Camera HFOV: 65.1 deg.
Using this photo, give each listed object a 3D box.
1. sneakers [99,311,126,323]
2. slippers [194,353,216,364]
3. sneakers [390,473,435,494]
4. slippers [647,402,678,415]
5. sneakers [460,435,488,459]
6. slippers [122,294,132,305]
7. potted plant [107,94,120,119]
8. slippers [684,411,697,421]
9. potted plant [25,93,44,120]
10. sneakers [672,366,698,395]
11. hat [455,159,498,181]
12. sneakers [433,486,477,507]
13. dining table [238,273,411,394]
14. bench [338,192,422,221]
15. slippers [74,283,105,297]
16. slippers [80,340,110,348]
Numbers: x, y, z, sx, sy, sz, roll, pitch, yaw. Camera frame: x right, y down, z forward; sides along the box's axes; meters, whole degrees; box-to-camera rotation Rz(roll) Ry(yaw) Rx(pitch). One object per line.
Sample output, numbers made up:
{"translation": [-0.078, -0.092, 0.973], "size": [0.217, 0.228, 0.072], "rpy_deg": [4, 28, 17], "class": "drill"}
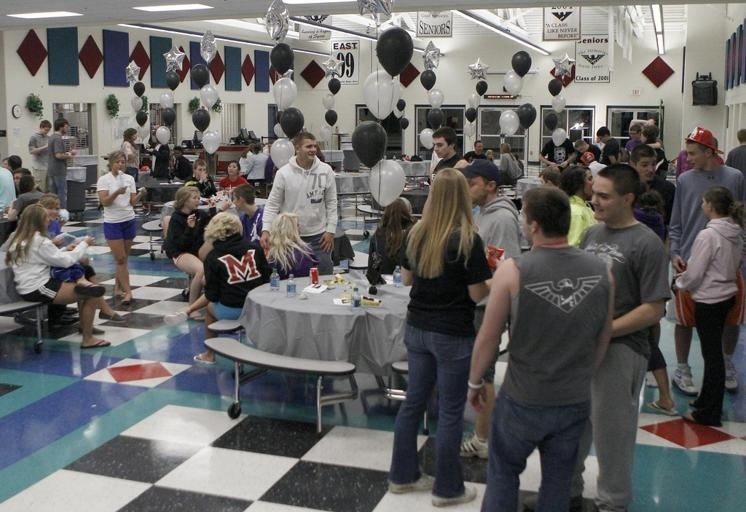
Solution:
{"translation": [-3.096, 0.714, 6.923], "size": [0.329, 0.121, 0.125], "rpy_deg": [4, 7, -2], "class": "sneakers"}
{"translation": [-1.648, 1.008, 5.835], "size": [0.216, 0.097, 0.102], "rpy_deg": [10, 7, 11], "class": "slippers"}
{"translation": [0.272, 1.497, 3.886], "size": [0.301, 0.121, 0.112], "rpy_deg": [-4, 5, -18], "class": "sneakers"}
{"translation": [2.423, 1.267, 4.885], "size": [0.078, 0.066, 0.213], "rpy_deg": [-4, 4, -36], "class": "slippers"}
{"translation": [0.749, 1.372, 4.261], "size": [0.238, 0.120, 0.105], "rpy_deg": [6, 7, 33], "class": "sneakers"}
{"translation": [-3.144, 0.553, 7.504], "size": [0.065, 0.074, 0.183], "rpy_deg": [-1, 9, -19], "class": "slippers"}
{"translation": [-8.466, -4.911, 19.167], "size": [0.449, 0.738, 0.277], "rpy_deg": [-11, 17, -38], "class": "potted plant"}
{"translation": [2.564, 1.287, 4.743], "size": [0.047, 0.038, 0.086], "rpy_deg": [-11, 16, -2], "class": "slippers"}
{"translation": [-9.644, -4.324, 16.842], "size": [0.277, 0.671, 0.589], "rpy_deg": [0, 14, 2], "class": "potted plant"}
{"translation": [2.715, 1.100, 5.221], "size": [0.121, 0.234, 0.339], "rpy_deg": [-1, 3, -5], "class": "sneakers"}
{"translation": [0.762, -0.600, 4.182], "size": [0.220, 0.109, 0.158], "rpy_deg": [6, 7, -4], "class": "hat"}
{"translation": [0.523, 1.507, 3.750], "size": [0.268, 0.117, 0.114], "rpy_deg": [-10, 13, -24], "class": "sneakers"}
{"translation": [-0.399, 0.578, 4.693], "size": [0.898, 0.348, 0.877], "rpy_deg": [9, 13, 34], "class": "dining table"}
{"translation": [-0.156, -1.248, 14.187], "size": [1.392, 0.337, 1.433], "rpy_deg": [2, 20, 4], "class": "bench"}
{"translation": [-2.869, 0.350, 6.021], "size": [0.297, 0.132, 0.129], "rpy_deg": [1, 12, 5], "class": "slippers"}
{"translation": [-2.917, 0.926, 6.184], "size": [0.213, 0.053, 0.100], "rpy_deg": [-2, 6, -17], "class": "slippers"}
